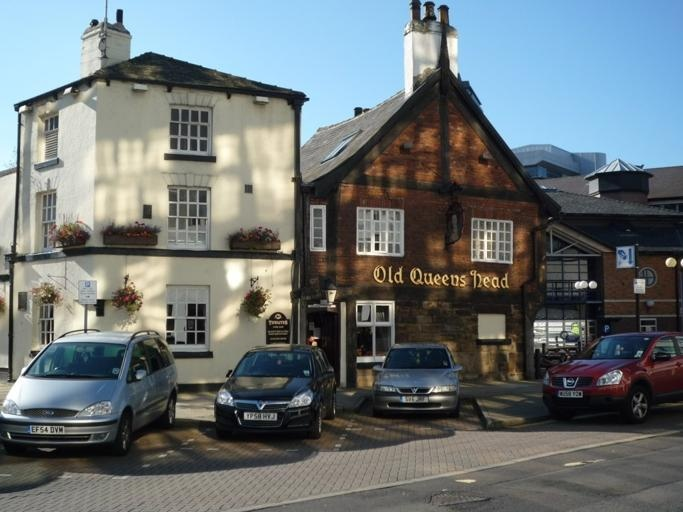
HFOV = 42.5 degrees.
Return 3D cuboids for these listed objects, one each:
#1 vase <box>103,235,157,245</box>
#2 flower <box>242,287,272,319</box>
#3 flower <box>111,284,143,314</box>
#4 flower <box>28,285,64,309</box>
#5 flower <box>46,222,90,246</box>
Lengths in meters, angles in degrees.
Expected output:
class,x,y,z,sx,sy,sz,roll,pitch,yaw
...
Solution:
class,x,y,z,sx,sy,sz,roll,pitch,yaw
vase,-6.464,-0.477,26.533,1.543,0.291,0.168,-1,1,-16
flower,-2.748,1.447,27.677,0.918,0.970,0.443,-1,1,-16
flower,-6.479,1.280,26.230,0.827,0.863,0.356,4,-33,-16
flower,-9.216,1.265,27.181,0.714,0.562,0.755,1,-3,-10
flower,-8.311,-0.668,26.739,1.247,0.779,0.452,0,1,36
